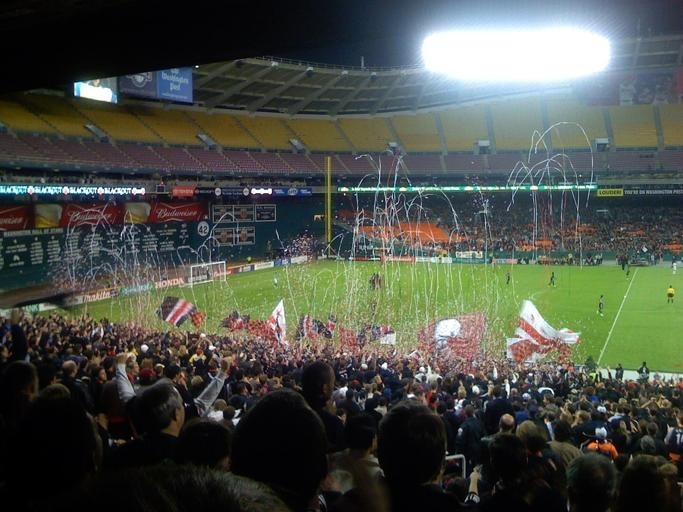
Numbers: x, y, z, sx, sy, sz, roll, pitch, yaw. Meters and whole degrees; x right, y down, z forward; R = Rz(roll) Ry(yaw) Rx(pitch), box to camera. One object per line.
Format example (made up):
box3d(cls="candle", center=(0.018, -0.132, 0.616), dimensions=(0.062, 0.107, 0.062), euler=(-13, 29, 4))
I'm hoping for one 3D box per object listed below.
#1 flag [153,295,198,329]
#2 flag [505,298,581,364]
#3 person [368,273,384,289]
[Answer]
box3d(cls="flag", center=(-4.742, 1.392, 16.278), dimensions=(1.055, 0.802, 0.341), euler=(22, 17, -13))
box3d(cls="flag", center=(4.969, 2.092, 14.426), dimensions=(1.730, 0.865, 2.166), euler=(30, -1, 24))
box3d(cls="person", center=(1.683, 1.188, 27.258), dimensions=(0.608, 0.818, 0.834), euler=(0, -6, 4))
